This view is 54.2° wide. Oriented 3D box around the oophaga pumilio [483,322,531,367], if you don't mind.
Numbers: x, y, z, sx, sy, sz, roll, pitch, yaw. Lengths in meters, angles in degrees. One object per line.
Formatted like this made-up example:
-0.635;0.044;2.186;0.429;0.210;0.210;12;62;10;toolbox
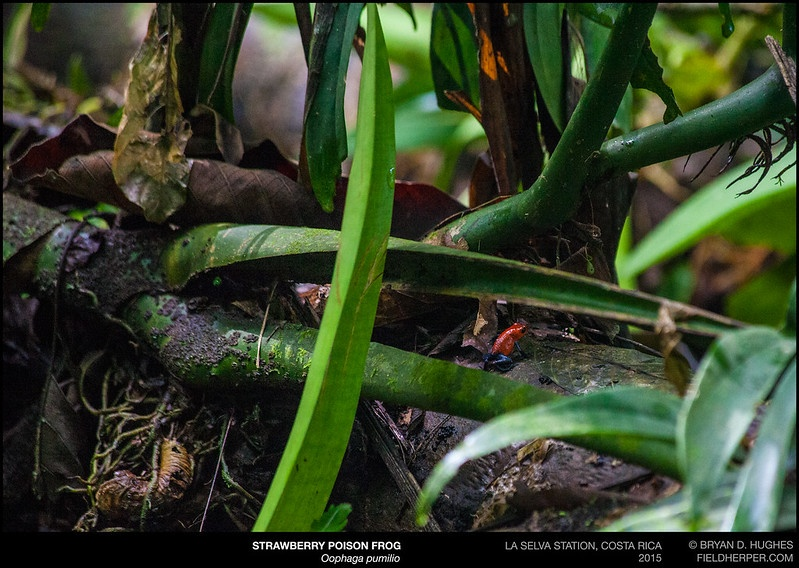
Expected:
0.173;0.103;1.245;0.076;0.029;0.050;-42;53;-17;oophaga pumilio
